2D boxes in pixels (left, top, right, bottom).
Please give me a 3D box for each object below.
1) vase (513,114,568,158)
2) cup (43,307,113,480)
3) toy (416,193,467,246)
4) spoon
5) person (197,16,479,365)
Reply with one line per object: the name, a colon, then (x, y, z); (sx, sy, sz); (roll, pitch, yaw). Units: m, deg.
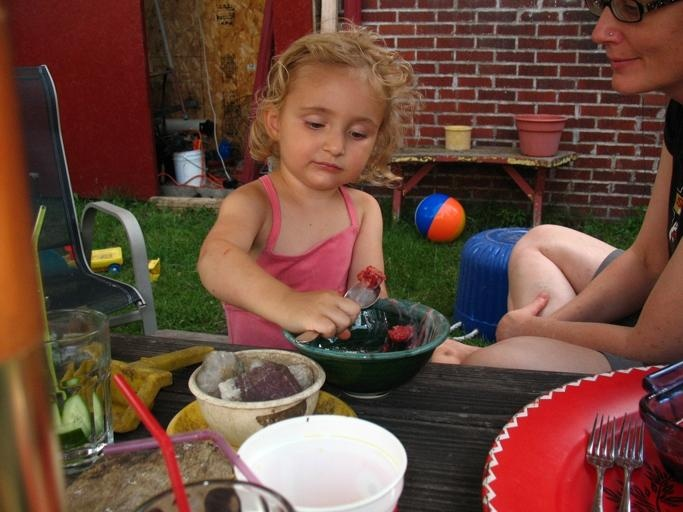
vase: (1.302, -0.803, 3.924); (0.337, 0.254, 0.348); (11, 26, 29)
cup: (-0.271, 0.143, 0.609); (0.069, 0.215, 0.083); (-10, 20, -37)
toy: (0.663, -0.278, 4.026); (0.317, 0.323, 0.226); (-13, 21, -36)
spoon: (0.005, 0.092, 1.102); (0.057, 0.042, 0.270); (15, 22, 18)
person: (-0.103, -0.031, 1.658); (0.532, 1.106, 0.730); (14, 28, 18)
